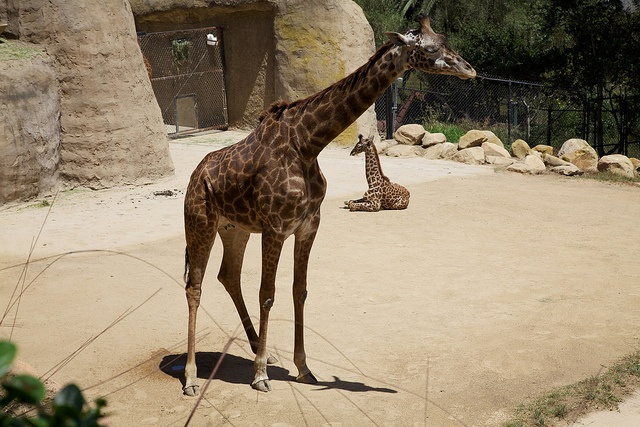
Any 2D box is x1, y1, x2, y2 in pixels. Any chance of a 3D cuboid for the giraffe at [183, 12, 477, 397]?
[{"bbox_3d":[-0.310,-0.166,10.016,3.208,4.774,1.308,-3,17,-11],"label":"giraffe"}]
